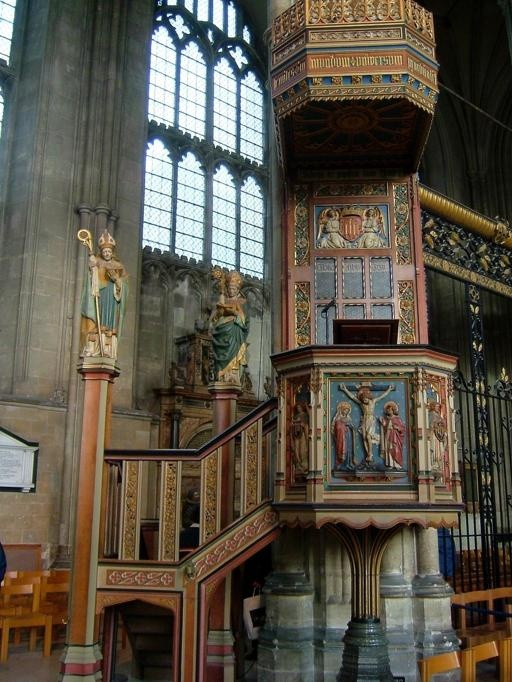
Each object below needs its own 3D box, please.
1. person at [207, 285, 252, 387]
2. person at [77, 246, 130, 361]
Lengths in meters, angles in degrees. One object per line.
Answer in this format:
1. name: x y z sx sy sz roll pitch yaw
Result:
1. person: -0.268 -0.102 7.036 0.360 1.055 0.352 3 -12 -4
2. person: -1.279 -0.401 5.936 0.368 1.146 0.344 5 -13 -14
